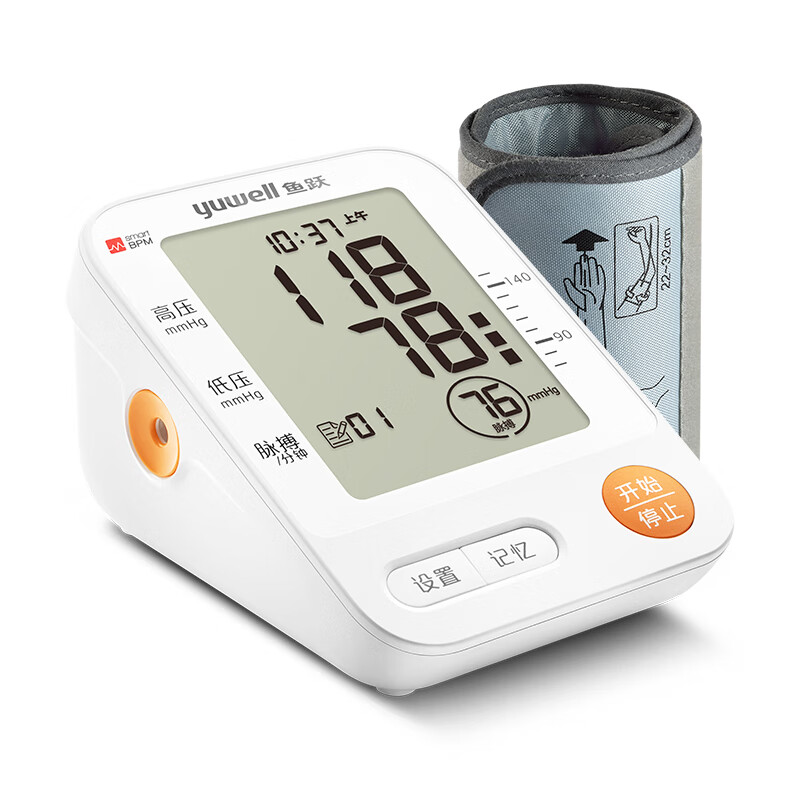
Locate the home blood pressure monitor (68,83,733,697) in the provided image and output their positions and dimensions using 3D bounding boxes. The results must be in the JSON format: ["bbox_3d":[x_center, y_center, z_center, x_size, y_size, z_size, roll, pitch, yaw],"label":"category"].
[{"bbox_3d":[-0.055,-0.028,0.946,0.522,0.637,0.274,-19,-48,-28],"label":"home blood pressure monitor"}]
